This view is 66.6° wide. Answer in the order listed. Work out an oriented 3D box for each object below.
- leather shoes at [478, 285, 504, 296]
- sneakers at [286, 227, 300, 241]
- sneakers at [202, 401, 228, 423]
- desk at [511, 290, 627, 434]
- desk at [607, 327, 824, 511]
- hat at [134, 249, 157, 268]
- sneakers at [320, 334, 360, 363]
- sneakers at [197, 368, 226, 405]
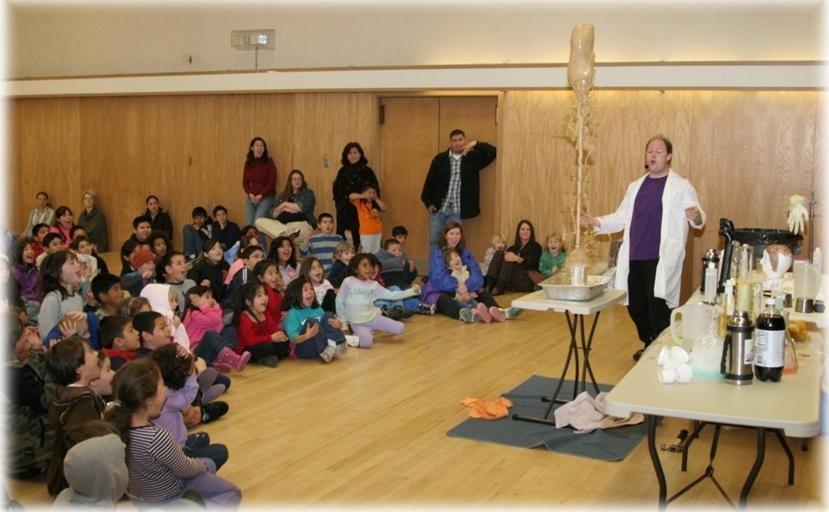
[{"bbox_3d":[1.037,0.463,8.428,0.138,0.082,0.256,1,-3,38],"label":"leather shoes"},{"bbox_3d":[-1.705,-0.309,8.983,0.134,0.150,0.385,6,-15,-23],"label":"sneakers"},{"bbox_3d":[-1.476,1.156,4.685,0.154,0.057,0.121,-9,9,-26],"label":"sneakers"},{"bbox_3d":[1.230,0.766,4.808,0.848,0.878,0.833,0,-2,40],"label":"desk"},{"bbox_3d":[1.641,0.736,3.446,0.999,0.724,1.563,2,8,18],"label":"desk"},{"bbox_3d":[-2.677,0.022,6.246,0.211,0.159,0.194,2,7,14],"label":"hat"},{"bbox_3d":[-0.697,0.861,5.934,0.280,0.109,0.222,-18,17,-37],"label":"sneakers"},{"bbox_3d":[-1.550,0.962,4.766,0.121,0.341,0.133,27,16,-39],"label":"sneakers"}]
